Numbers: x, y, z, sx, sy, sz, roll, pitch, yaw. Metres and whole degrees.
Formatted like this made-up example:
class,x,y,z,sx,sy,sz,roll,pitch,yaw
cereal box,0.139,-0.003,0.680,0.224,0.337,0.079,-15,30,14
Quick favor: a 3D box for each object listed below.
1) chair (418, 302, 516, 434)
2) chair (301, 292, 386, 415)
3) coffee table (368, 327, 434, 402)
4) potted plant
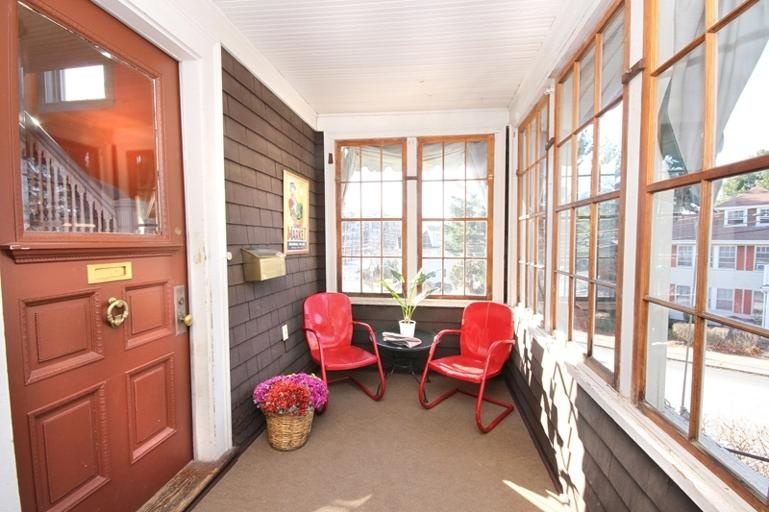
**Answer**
class,x,y,z,sx,sy,sz,roll,pitch,yaw
chair,0.734,0.895,4.231,0.610,0.946,0.669,7,11,42
chair,-0.404,0.825,4.411,0.613,0.896,0.744,-4,5,-37
coffee table,0.168,0.966,4.987,0.804,0.575,0.838,1,-6,-3
potted plant,0.242,0.463,4.840,0.525,0.659,0.596,2,-8,4
